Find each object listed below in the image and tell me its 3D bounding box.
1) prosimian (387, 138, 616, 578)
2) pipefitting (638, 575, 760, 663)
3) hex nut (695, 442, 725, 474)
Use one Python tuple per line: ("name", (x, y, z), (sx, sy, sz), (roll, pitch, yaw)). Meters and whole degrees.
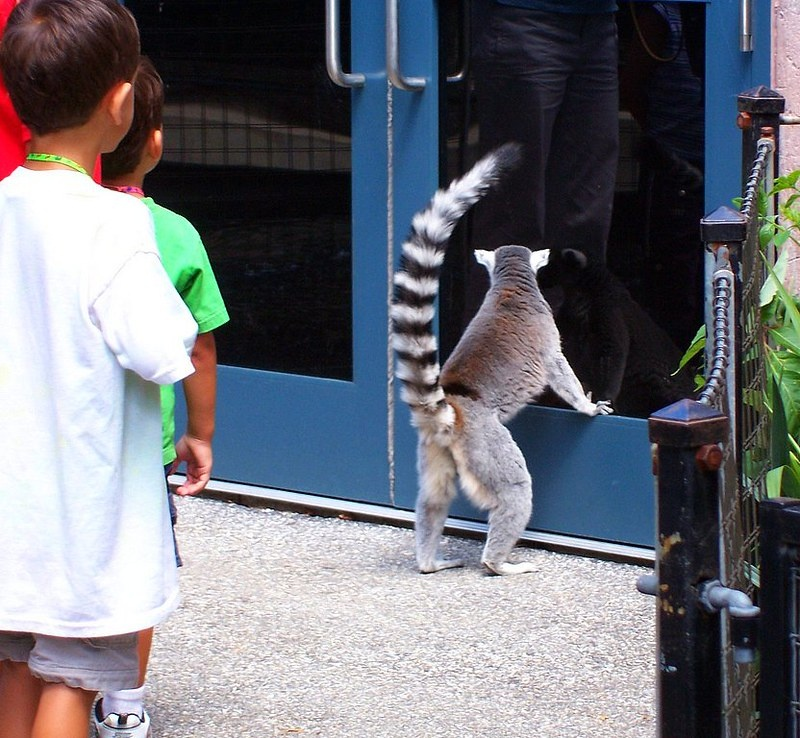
("prosimian", (0.291, -0.012, 4.075), (0.571, 1.296, 0.411), (-11, 16, -37))
("pipefitting", (0.510, 0.407, 2.148), (0.057, 0.112, 0.278), (4, 2, -31))
("hex nut", (0.504, 0.142, 2.056), (0.051, 0.054, 0.024), (-12, 17, -41))
